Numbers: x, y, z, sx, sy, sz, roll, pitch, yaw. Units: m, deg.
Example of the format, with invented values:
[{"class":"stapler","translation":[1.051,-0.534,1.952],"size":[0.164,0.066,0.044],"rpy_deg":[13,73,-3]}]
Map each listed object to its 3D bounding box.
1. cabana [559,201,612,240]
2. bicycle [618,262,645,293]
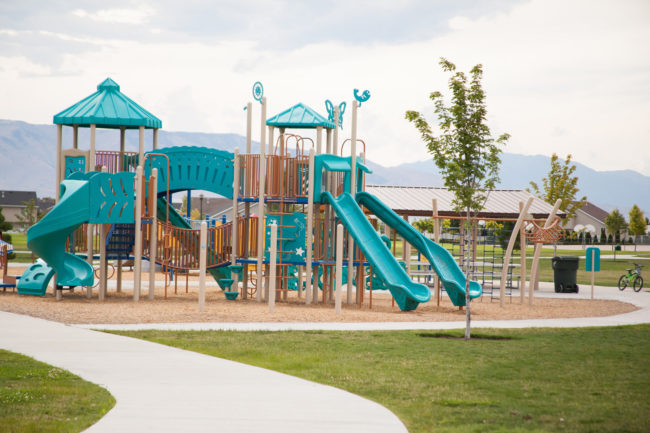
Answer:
[{"class":"cabana","translation":[23.756,0.600,81.741],"size":[4.638,2.974,4.787],"rpy_deg":[-1,5,4]},{"class":"bicycle","translation":[12.491,2.557,36.881],"size":[0.878,1.051,1.590],"rpy_deg":[2,-4,-25]}]
